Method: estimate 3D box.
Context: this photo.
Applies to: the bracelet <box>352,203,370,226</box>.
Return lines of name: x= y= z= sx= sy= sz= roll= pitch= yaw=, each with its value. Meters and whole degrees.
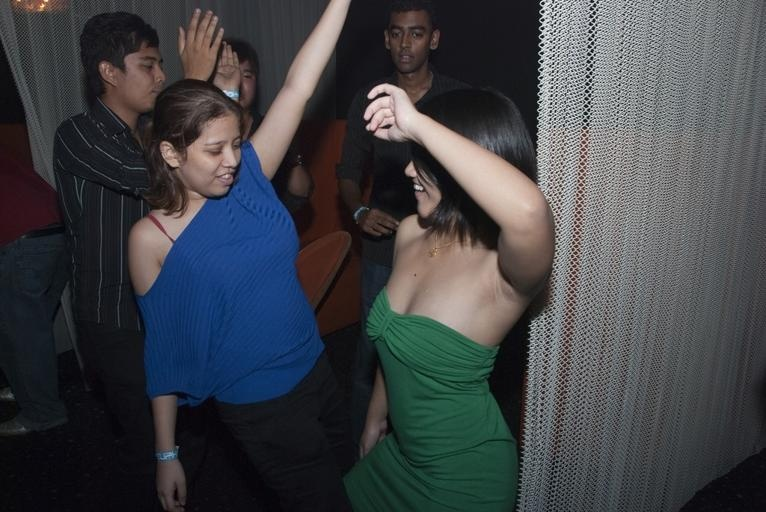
bracelet: x=-0.142 y=-0.231 z=3.439 sx=0.042 sy=0.114 sz=0.087 roll=33 pitch=41 yaw=-3

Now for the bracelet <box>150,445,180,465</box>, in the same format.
bracelet: x=-0.856 y=0.766 z=2.346 sx=0.081 sy=0.050 sz=0.090 roll=-3 pitch=0 yaw=-39
